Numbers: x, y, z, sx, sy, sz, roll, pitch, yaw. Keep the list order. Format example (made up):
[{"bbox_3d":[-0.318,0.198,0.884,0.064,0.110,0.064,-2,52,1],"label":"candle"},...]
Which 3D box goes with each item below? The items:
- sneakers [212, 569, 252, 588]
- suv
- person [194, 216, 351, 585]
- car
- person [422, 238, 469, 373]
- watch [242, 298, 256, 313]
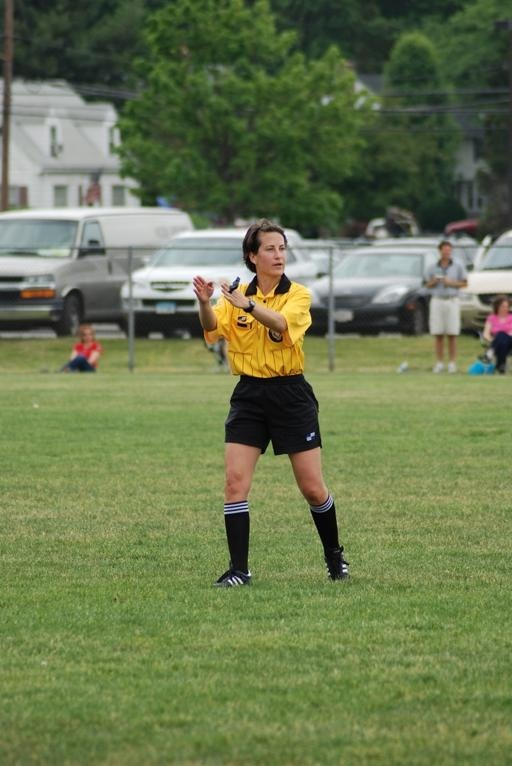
[{"bbox_3d":[-0.103,0.851,7.190,0.167,0.086,0.067,-4,-7,12],"label":"sneakers"},{"bbox_3d":[-0.698,-1.028,16.262,0.902,0.897,1.922,-1,2,21],"label":"suv"},{"bbox_3d":[0.044,0.101,7.112,0.523,1.588,0.625,0,4,18],"label":"person"},{"bbox_3d":[1.778,-1.068,16.952,0.898,0.790,2.062,1,3,32],"label":"car"},{"bbox_3d":[1.748,-0.696,15.349,0.368,1.250,1.048,-1,4,6],"label":"person"},{"bbox_3d":[-0.025,-0.314,6.799,0.051,0.038,0.060,-43,15,47],"label":"watch"}]
